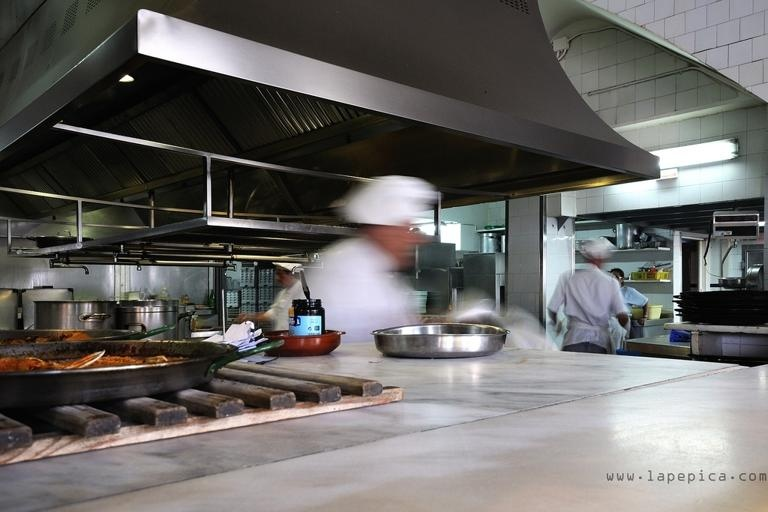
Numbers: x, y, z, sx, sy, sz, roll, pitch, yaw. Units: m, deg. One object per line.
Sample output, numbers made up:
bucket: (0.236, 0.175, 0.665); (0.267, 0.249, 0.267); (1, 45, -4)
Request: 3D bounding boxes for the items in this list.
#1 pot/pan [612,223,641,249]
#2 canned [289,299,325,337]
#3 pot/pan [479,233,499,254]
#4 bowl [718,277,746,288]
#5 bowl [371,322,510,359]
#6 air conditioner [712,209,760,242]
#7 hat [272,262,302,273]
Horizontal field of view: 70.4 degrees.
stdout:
pot/pan: (3.209, -0.262, 7.262); (0.451, 0.337, 0.368); (0, 5, 0)
canned: (-0.281, 0.226, 1.991); (0.172, 0.125, 0.144); (-1, -5, 16)
pot/pan: (1.618, -0.210, 8.384); (0.419, 0.285, 0.274); (-2, -8, 27)
bowl: (3.211, 0.251, 5.035); (0.226, 0.053, 0.154); (3, -5, -4)
bowl: (0.196, 0.322, 2.051); (0.490, 0.106, 0.361); (0, 1, -20)
air conditioner: (2.884, -0.244, 4.502); (0.515, 0.224, 0.251); (1, -3, 19)
hat: (-0.685, 0.072, 3.698); (0.226, 0.051, 0.156); (-4, -5, 28)
